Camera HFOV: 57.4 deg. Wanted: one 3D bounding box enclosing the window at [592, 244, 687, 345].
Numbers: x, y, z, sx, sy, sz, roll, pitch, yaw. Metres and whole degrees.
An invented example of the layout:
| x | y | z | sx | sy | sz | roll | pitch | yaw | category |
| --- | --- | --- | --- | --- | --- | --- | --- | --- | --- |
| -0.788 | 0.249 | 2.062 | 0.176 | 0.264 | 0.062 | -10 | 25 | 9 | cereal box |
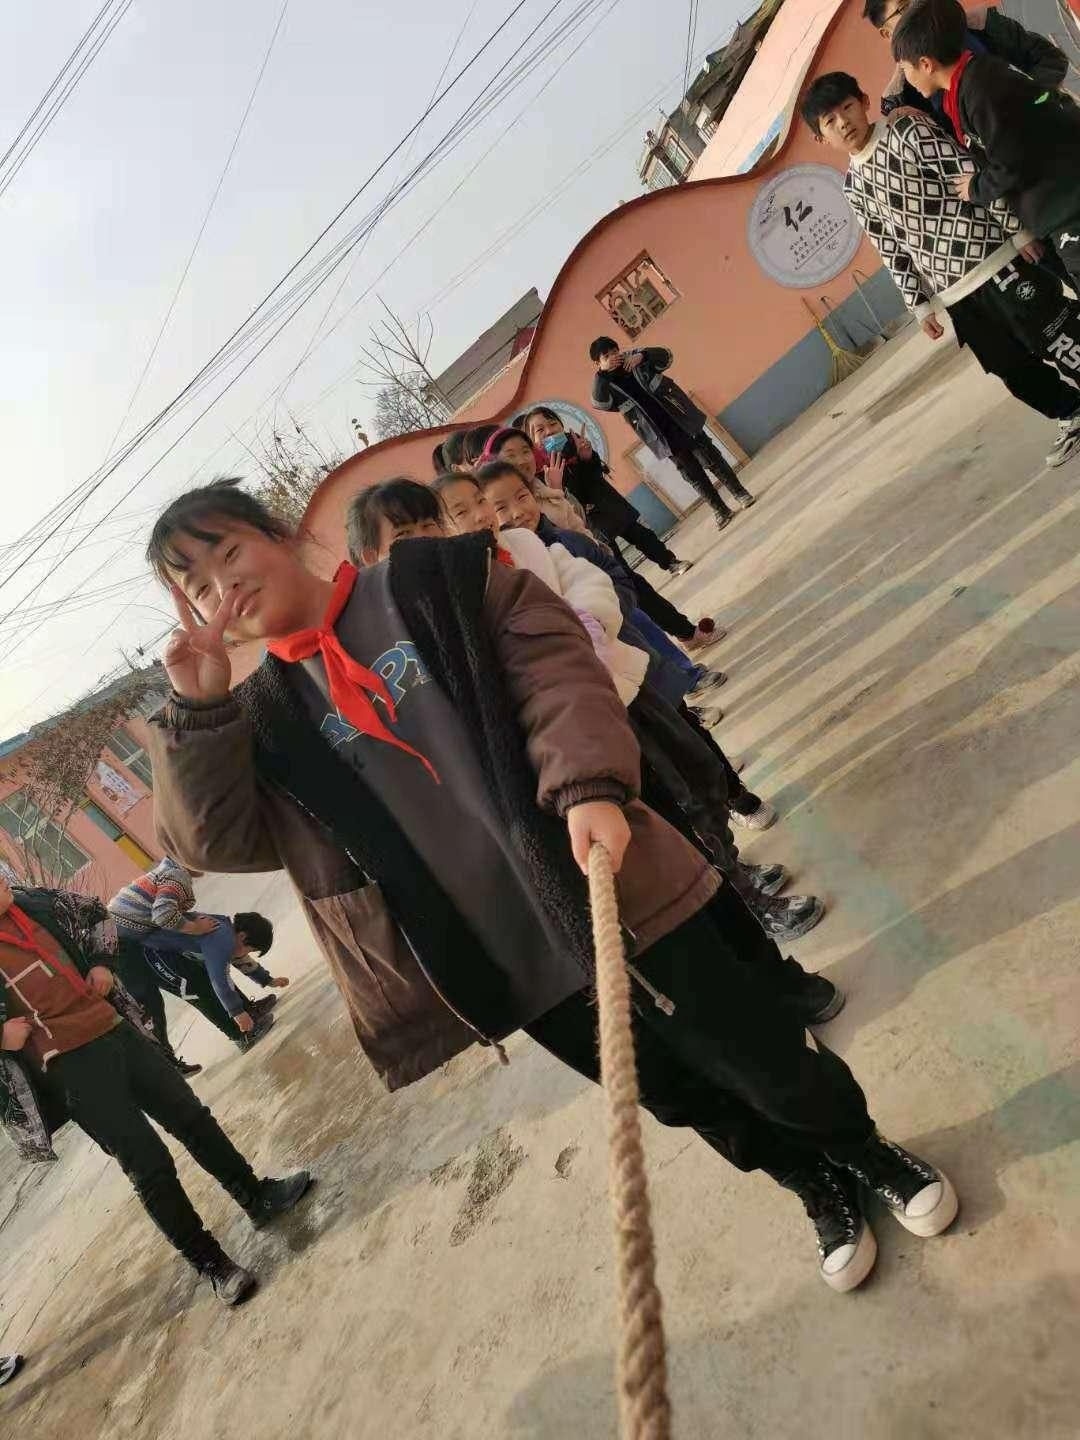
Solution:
| x | y | z | sx | sy | sz | roll | pitch | yaw | category |
| --- | --- | --- | --- | --- | --- | --- | --- | --- | --- |
| 0.874 | -3.649 | 8.712 | 0.597 | 0.846 | 0.541 | -40 | 4 | 10 | window |

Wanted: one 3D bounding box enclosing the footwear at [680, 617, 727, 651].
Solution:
| x | y | z | sx | sy | sz | roll | pitch | yaw | category |
| --- | --- | --- | --- | --- | --- | --- | --- | --- | --- |
| 0.903 | -0.448 | 5.152 | 0.137 | 0.126 | 0.291 | -30 | 8 | -28 | footwear |

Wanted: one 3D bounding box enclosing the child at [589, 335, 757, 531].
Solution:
| x | y | z | sx | sy | sz | roll | pitch | yaw | category |
| --- | --- | --- | --- | --- | --- | --- | --- | --- | --- |
| 0.812 | -1.918 | 6.431 | 0.604 | 1.412 | 0.427 | -38 | -3 | 5 | child |

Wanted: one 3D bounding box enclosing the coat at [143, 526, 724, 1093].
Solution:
| x | y | z | sx | sy | sz | roll | pitch | yaw | category |
| --- | --- | --- | --- | --- | --- | --- | --- | --- | --- |
| -0.216 | 0.153 | 1.790 | 0.782 | 0.908 | 0.549 | -26 | -2 | -7 | coat |

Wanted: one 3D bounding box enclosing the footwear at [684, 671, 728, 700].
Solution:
| x | y | z | sx | sy | sz | roll | pitch | yaw | category |
| --- | --- | --- | --- | --- | --- | --- | --- | --- | --- |
| 0.745 | -0.146 | 4.364 | 0.229 | 0.100 | 0.081 | -10 | 40 | 40 | footwear |

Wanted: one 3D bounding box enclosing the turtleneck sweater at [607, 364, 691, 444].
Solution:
| x | y | z | sx | sy | sz | roll | pitch | yaw | category |
| --- | --- | --- | --- | --- | --- | --- | --- | --- | --- |
| 0.734 | -2.011 | 6.428 | 0.376 | 0.155 | 0.942 | -14 | -23 | 25 | turtleneck sweater |

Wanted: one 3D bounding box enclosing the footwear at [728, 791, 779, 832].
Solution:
| x | y | z | sx | sy | sz | roll | pitch | yaw | category |
| --- | --- | --- | --- | --- | --- | --- | --- | --- | --- |
| 0.683 | 0.305 | 3.255 | 0.109 | 0.122 | 0.162 | -46 | 11 | -28 | footwear |

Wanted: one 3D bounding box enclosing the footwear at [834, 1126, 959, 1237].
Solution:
| x | y | z | sx | sy | sz | roll | pitch | yaw | category |
| --- | --- | --- | --- | --- | --- | --- | --- | --- | --- |
| 0.652 | 0.806 | 1.756 | 0.105 | 0.101 | 0.266 | -46 | -1 | -3 | footwear |

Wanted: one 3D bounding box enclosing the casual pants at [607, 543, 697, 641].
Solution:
| x | y | z | sx | sy | sz | roll | pitch | yaw | category |
| --- | --- | --- | --- | --- | --- | --- | --- | --- | --- |
| 0.509 | -0.717 | 4.636 | 0.305 | 0.196 | 0.672 | -13 | 32 | -4 | casual pants |
